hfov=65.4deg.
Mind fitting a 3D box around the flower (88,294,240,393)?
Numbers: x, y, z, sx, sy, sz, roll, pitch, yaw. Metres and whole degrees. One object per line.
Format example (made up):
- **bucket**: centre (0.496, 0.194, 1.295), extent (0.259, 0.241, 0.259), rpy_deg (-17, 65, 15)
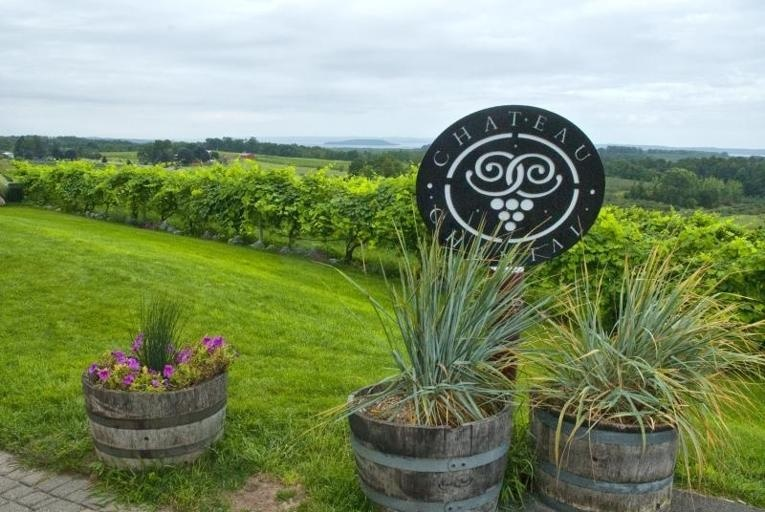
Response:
- **flower**: centre (-2.303, 0.926, 6.243), extent (1.282, 0.873, 1.343), rpy_deg (-4, -4, 41)
